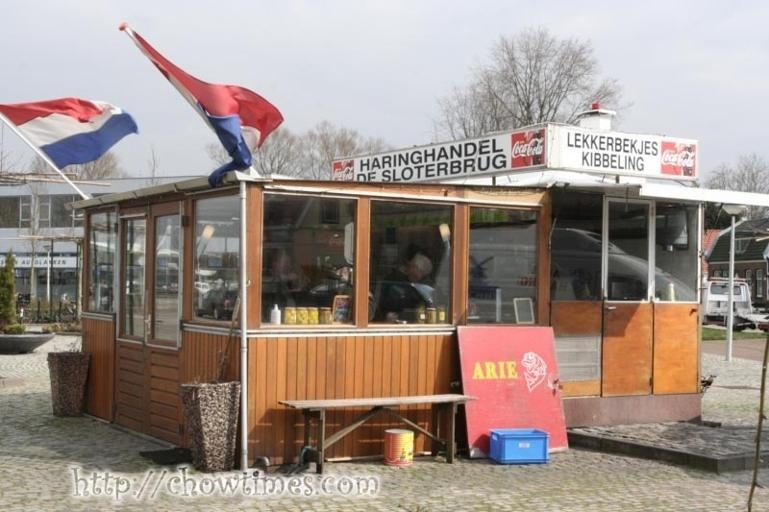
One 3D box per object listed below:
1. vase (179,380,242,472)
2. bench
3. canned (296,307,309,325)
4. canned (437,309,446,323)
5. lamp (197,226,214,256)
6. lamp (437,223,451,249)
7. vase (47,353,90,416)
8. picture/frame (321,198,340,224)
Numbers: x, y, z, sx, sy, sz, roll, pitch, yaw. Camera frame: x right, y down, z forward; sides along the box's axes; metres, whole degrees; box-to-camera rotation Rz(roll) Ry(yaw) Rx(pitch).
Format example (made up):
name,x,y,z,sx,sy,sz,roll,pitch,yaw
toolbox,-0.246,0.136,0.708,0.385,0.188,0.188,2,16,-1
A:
name,x,y,z,sx,sy,sz,roll,pitch,yaw
vase,-2.578,2.529,13.460,0.836,1.298,0.445,0,10,-12
bench,-0.104,2.788,14.216,3.073,1.031,0.799,1,-7,-18
canned,-1.268,0.930,14.004,0.191,0.266,0.066,-1,10,-15
canned,0.948,0.974,14.846,0.151,0.233,0.055,-4,11,-30
lamp,-2.851,-0.245,14.369,0.374,0.491,0.093,10,13,38
lamp,0.983,-0.346,14.857,0.205,0.370,0.099,2,10,3
vase,-5.806,2.346,16.665,0.697,1.166,0.404,-1,10,-18
picture/frame,-0.865,-0.715,14.155,0.383,0.452,0.236,0,1,-33
